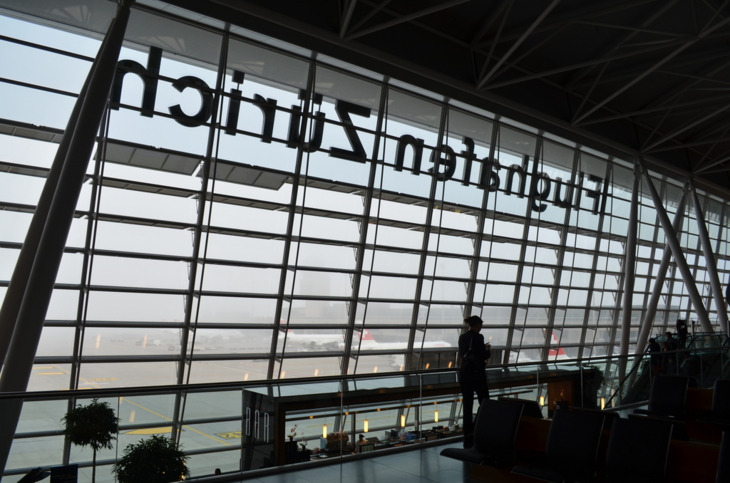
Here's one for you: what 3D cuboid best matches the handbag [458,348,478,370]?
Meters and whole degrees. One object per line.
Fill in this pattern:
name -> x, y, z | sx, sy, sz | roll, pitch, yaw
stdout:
handbag -> 2.340, 2.787, 11.558 | 0.429, 0.673, 0.404 | 1, 9, 6
